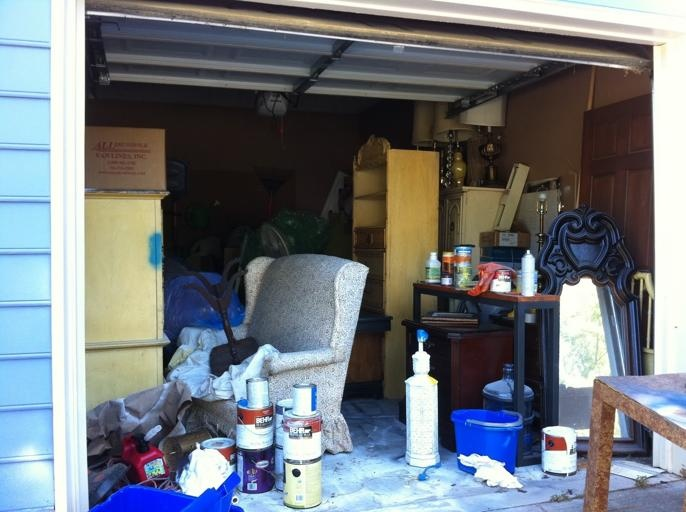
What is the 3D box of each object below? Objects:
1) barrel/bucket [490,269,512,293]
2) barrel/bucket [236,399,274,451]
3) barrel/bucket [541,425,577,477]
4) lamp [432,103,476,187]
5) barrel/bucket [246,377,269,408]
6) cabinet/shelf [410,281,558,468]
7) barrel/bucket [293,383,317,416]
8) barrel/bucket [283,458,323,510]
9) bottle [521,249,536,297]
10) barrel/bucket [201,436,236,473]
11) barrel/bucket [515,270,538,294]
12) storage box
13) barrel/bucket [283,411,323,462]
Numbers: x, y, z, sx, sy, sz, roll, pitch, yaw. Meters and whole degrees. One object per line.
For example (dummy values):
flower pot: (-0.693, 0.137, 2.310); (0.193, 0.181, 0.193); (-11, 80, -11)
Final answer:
barrel/bucket: (1.021, 0.161, 3.652); (0.136, 0.148, 0.135); (1, 1, 0)
barrel/bucket: (-0.493, 0.962, 3.317); (0.247, 0.245, 0.255); (0, 0, 0)
barrel/bucket: (1.263, 1.186, 3.513); (0.250, 0.266, 0.250); (1, -2, 0)
lamp: (1.220, -1.191, 6.205); (0.449, 0.889, 0.927); (0, 3, 12)
barrel/bucket: (-0.475, 0.767, 3.179); (0.147, 0.158, 0.146); (1, 0, 0)
cabinet/shelf: (0.939, 0.801, 3.679); (0.265, 0.933, 1.125); (1, -2, -10)
barrel/bucket: (-0.208, 0.767, 3.078); (0.152, 0.165, 0.150); (0, 2, 0)
barrel/bucket: (-0.175, 1.231, 3.149); (0.237, 0.252, 0.237); (1, -4, 0)
bottle: (1.183, 0.106, 3.626); (0.085, 0.272, 0.315); (0, 3, 17)
barrel/bucket: (-0.694, 1.083, 3.195); (0.179, 0.194, 0.177); (1, 4, 0)
barrel/bucket: (1.183, 0.173, 3.687); (0.163, 0.176, 0.164); (0, 3, 0)
storage box: (-1.382, -0.661, 4.004); (0.514, 0.392, 0.724); (1, 5, -8)
barrel/bucket: (-0.209, 0.969, 3.143); (0.235, 0.253, 0.233); (1, 0, 0)
